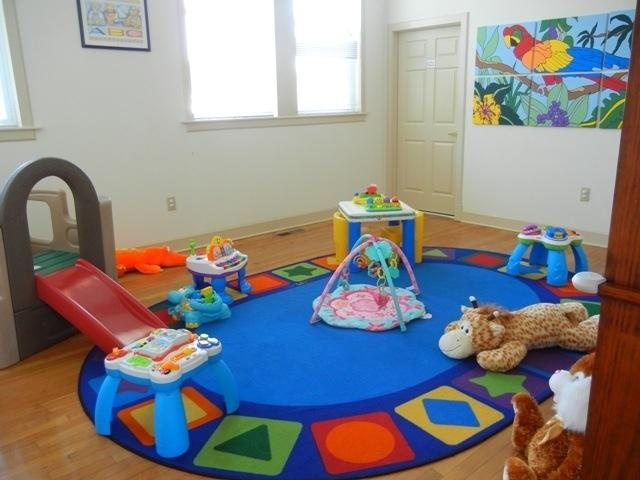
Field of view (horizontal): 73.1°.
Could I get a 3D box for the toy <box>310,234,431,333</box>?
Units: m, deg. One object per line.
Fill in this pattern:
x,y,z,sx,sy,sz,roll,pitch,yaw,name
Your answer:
0.328,0.380,2.950,0.639,0.441,0.662,9,22,30,toy

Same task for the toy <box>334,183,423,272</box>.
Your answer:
0.429,-0.171,3.708,0.685,0.522,0.682,-15,23,-32,toy

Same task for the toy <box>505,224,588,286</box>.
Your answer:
1.792,0.092,3.503,0.542,0.437,0.555,0,10,5,toy

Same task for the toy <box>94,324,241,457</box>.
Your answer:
-0.662,0.576,1.973,0.501,0.418,0.512,7,13,30,toy

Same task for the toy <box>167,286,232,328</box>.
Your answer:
-0.803,0.442,2.839,0.277,0.126,0.334,-1,17,-21,toy

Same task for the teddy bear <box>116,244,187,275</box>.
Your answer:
-1.460,0.170,3.743,0.507,0.178,0.266,4,16,-33,teddy bear
